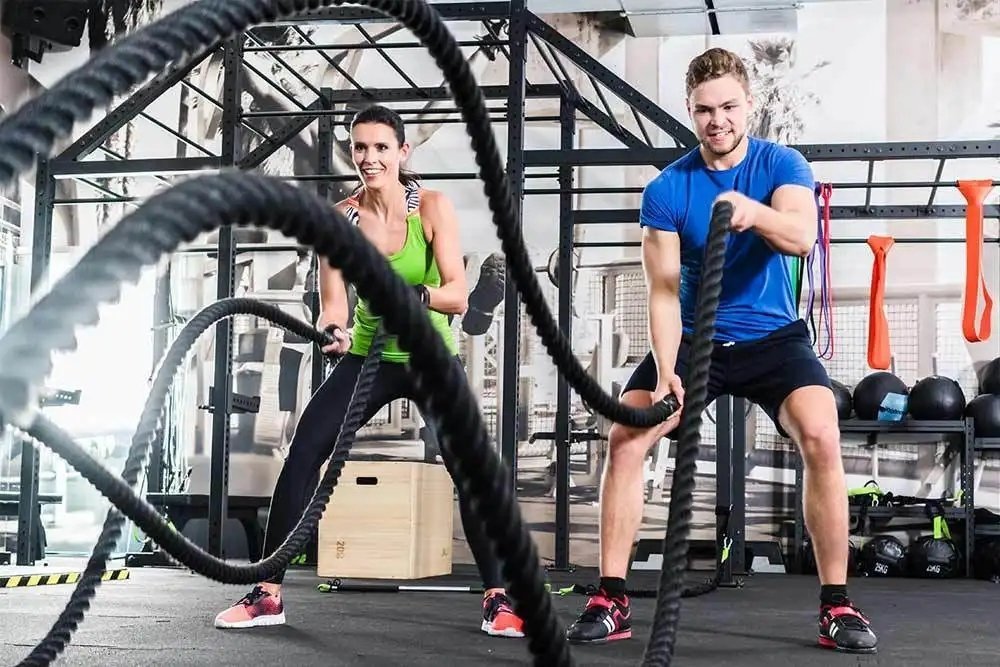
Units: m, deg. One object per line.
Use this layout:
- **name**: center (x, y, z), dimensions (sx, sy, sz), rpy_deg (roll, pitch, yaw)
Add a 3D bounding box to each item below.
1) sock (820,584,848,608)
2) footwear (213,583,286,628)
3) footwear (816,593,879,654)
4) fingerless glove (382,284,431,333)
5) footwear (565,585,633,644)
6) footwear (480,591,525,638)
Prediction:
- **sock**: center (1.683, 1.288, 6.461), dimensions (0.085, 0.143, 0.139), rpy_deg (3, -14, -8)
- **footwear**: center (-1.334, 1.433, 6.827), dimensions (0.369, 0.217, 0.172), rpy_deg (7, -15, -18)
- **footwear**: center (1.760, 1.448, 6.505), dimensions (0.203, 0.265, 0.536), rpy_deg (3, -5, -5)
- **fingerless glove**: center (-0.400, -0.156, 6.283), dimensions (0.257, 0.073, 0.258), rpy_deg (-14, -26, 29)
- **footwear**: center (0.530, 1.430, 6.588), dimensions (0.182, 0.249, 0.443), rpy_deg (-1, -4, 40)
- **footwear**: center (0.013, 1.431, 6.711), dimensions (0.179, 0.196, 0.414), rpy_deg (4, -2, -13)
